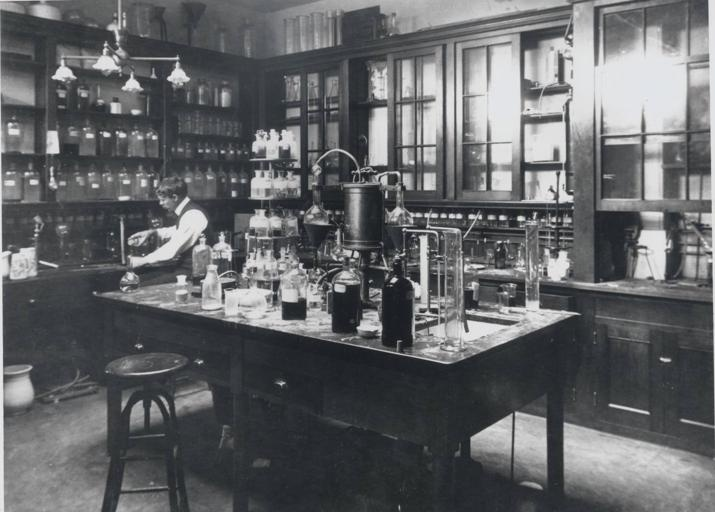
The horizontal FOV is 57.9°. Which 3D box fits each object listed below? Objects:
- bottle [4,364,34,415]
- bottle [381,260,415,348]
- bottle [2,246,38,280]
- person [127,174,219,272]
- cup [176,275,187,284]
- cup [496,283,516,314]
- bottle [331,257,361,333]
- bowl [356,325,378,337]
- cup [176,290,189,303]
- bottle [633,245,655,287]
[{"bbox_3d":[-2.092,0.836,4.001,0.173,0.286,0.097,-3,6,-29],"label":"bottle"},{"bbox_3d":[0.178,0.203,2.885,0.147,0.405,0.136,-1,5,0],"label":"bottle"},{"bbox_3d":[-2.151,0.050,4.132,0.183,0.189,0.177,-2,5,-11],"label":"bottle"},{"bbox_3d":[-1.363,-0.249,4.882,0.667,0.889,0.648,1,4,-12],"label":"person"},{"bbox_3d":[-1.021,0.137,3.750,0.070,0.053,0.071,0,-1,0],"label":"cup"},{"bbox_3d":[0.898,0.258,3.896,0.106,0.200,0.112,-1,9,0],"label":"cup"},{"bbox_3d":[-0.053,0.183,3.023,0.134,0.353,0.096,-1,5,-5],"label":"bottle"},{"bbox_3d":[0.052,0.349,3.017,0.098,0.045,0.132,0,5,7],"label":"bowl"},{"bbox_3d":[-0.943,0.216,3.473,0.066,0.048,0.067,1,4,0],"label":"cup"},{"bbox_3d":[1.722,0.038,3.860,0.057,0.199,0.153,-2,6,-17],"label":"bottle"}]
